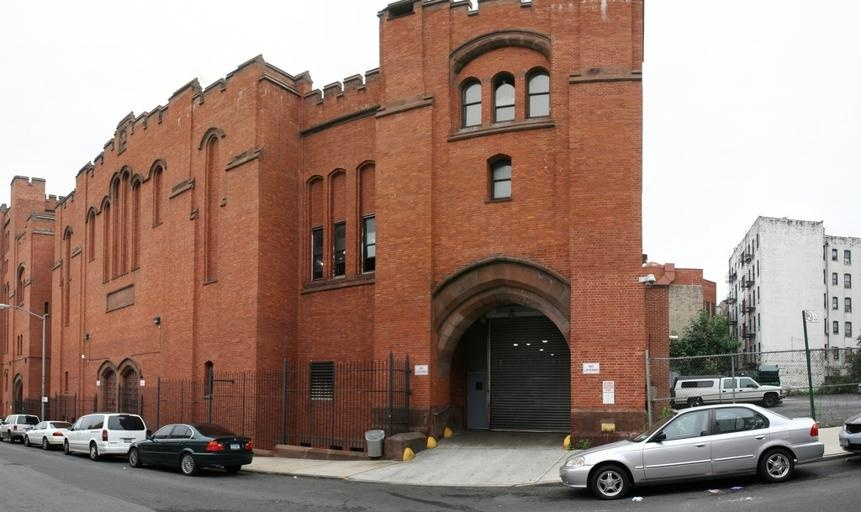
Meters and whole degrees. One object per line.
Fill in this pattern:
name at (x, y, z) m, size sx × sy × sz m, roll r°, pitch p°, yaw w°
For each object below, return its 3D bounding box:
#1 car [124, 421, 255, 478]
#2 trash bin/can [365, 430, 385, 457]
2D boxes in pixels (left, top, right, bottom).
car at (-11.421, 9.293, 43.235) m, size 7.305 × 2.119 × 3.111 m, roll -4°, pitch -6°, yaw 36°
trash bin/can at (-2.683, 9.207, 44.034) m, size 0.992 × 1.392 × 0.493 m, roll 0°, pitch -17°, yaw -2°
